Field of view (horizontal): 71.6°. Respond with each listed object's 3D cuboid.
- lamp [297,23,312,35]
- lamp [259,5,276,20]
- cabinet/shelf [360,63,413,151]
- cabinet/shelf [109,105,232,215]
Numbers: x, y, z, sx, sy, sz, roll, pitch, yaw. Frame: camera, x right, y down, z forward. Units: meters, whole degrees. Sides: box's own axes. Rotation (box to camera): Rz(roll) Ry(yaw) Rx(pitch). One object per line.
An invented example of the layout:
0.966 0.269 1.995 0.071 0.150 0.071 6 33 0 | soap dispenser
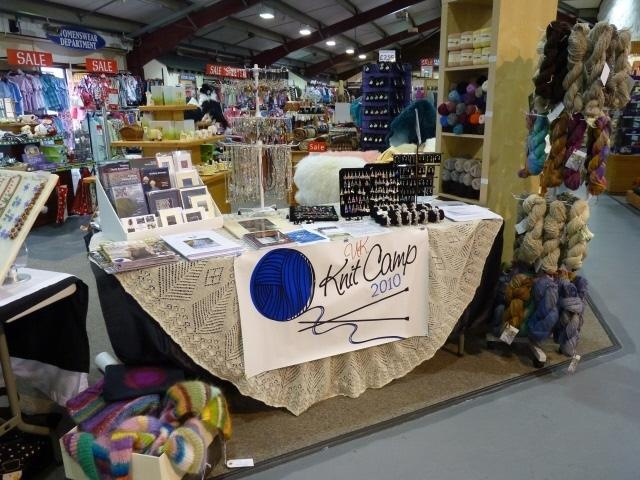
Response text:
-0.471 -7.188 15.152 0.324 0.211 0.313 -2 7 -17 | lamp
-1.368 -6.072 11.712 0.444 0.161 0.431 -2 5 -22 | lamp
1.127 -2.239 7.493 0.806 1.400 0.659 -1 19 3 | cabinet/shelf
-1.875 -1.055 5.634 1.135 0.955 0.859 -6 18 -16 | cabinet/shelf
